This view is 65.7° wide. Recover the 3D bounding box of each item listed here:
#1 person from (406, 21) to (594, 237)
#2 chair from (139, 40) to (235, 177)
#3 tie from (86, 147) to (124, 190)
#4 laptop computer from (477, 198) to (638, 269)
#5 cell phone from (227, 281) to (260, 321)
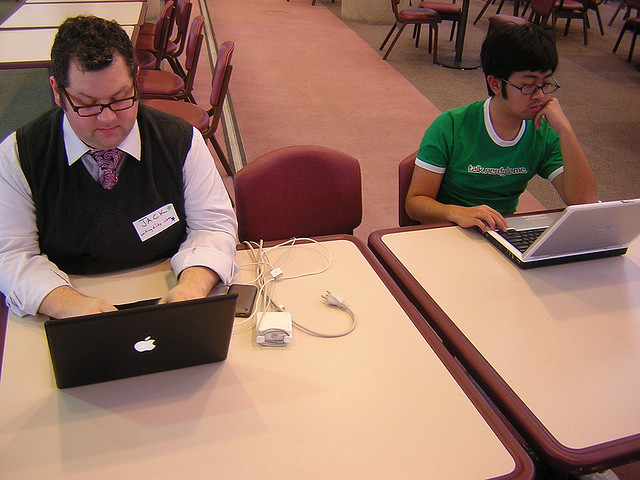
[{"bbox_3d":[0.682,-0.383,1.863,0.738,0.709,0.499,-18,41,-26],"label":"person"},{"bbox_3d":[-0.800,-0.726,2.976,0.563,0.804,0.457,-3,16,-14],"label":"chair"},{"bbox_3d":[-0.615,-0.210,1.418,0.083,0.116,0.030,-3,17,-18],"label":"tie"},{"bbox_3d":[0.765,-0.039,1.627,0.337,0.251,0.306,-8,37,-10],"label":"laptop computer"},{"bbox_3d":[-0.229,0.162,1.436,0.086,0.148,0.016,7,43,-17],"label":"cell phone"}]
